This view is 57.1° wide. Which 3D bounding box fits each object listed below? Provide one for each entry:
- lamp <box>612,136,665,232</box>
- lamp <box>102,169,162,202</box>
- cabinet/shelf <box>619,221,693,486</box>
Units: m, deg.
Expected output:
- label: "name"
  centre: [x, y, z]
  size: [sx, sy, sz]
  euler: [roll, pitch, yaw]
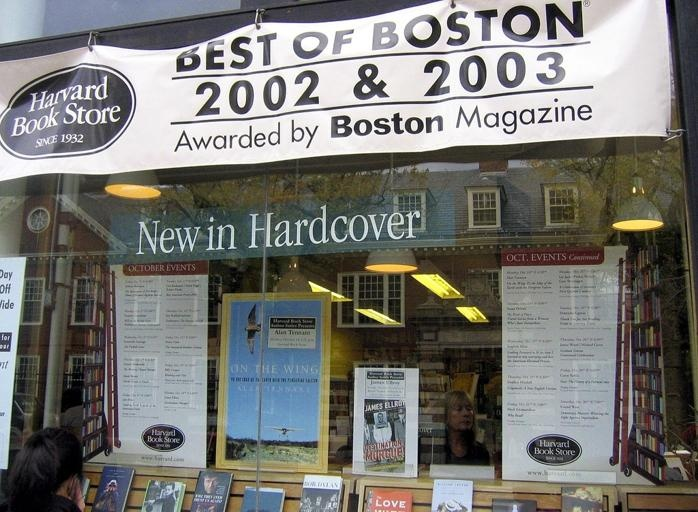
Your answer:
- label: "lamp"
  centre: [1.927, -0.428, 4.330]
  size: [0.154, 0.551, 0.281]
  euler: [8, -15, -27]
- label: "lamp"
  centre: [-1.688, -0.536, 4.972]
  size: [0.465, 0.201, 0.120]
  euler: [-2, -14, 13]
- label: "cabinet/shelf"
  centre: [2.018, 0.652, 4.192]
  size: [0.219, 1.576, 0.500]
  euler: [12, -17, -38]
